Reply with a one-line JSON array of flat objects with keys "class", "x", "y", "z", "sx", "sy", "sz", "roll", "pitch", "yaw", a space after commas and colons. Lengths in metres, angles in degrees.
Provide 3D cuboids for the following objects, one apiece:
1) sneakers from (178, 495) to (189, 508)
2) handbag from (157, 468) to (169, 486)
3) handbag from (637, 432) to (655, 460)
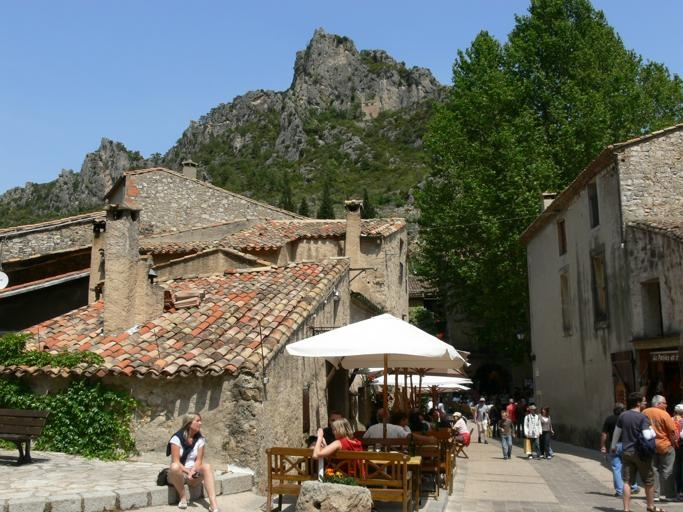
[{"class": "sneakers", "x": -2.806, "y": 4.367, "z": 12.875, "sx": 0.129, "sy": 0.103, "sz": 0.374, "roll": 2, "pitch": -9, "yaw": -6}, {"class": "handbag", "x": -3.231, "y": 4.023, "z": 13.166, "sx": 0.203, "sy": 0.280, "sz": 0.116, "roll": 2, "pitch": -31, "yaw": 8}, {"class": "handbag", "x": 5.582, "y": 3.490, "z": 13.323, "sx": 0.420, "sy": 0.565, "sz": 0.274, "roll": 7, "pitch": -9, "yaw": -31}]
